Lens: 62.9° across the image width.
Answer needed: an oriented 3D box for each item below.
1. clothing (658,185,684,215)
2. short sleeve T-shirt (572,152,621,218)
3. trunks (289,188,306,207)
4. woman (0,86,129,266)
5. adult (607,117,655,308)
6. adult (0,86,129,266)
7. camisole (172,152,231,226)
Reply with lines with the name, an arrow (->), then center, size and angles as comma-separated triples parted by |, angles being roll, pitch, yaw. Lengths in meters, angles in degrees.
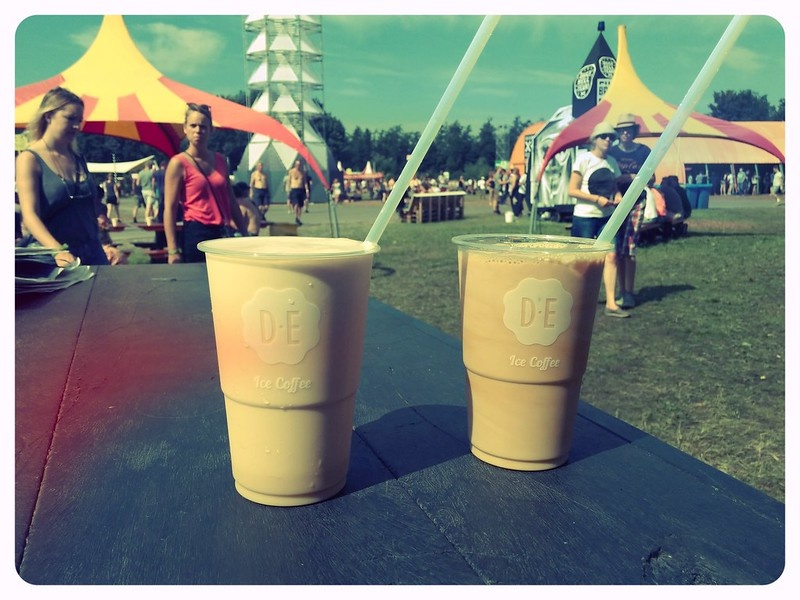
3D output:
clothing -> 4.740, -1.776, 11.509 | 0.268, 0.502, 0.918 | 14, 18, 38
short sleeve T-shirt -> 1.873, -1.110, 6.301 | 0.421, 0.621, 0.356 | 6, 15, 13
trunks -> -2.736, -2.773, 17.551 | 0.625, 0.622, 0.432 | 0, 8, -6
woman -> -2.469, -0.820, 4.779 | 0.524, 1.357, 1.352 | -4, 15, -23
adult -> 2.496, -1.002, 7.346 | 0.692, 2.118, 0.521 | 2, 0, 31
adult -> -2.469, -0.820, 4.779 | 0.524, 1.357, 1.352 | -4, 15, -23
camisole -> -1.462, -0.818, 4.796 | 0.346, 0.601, 0.467 | 9, 13, 32
